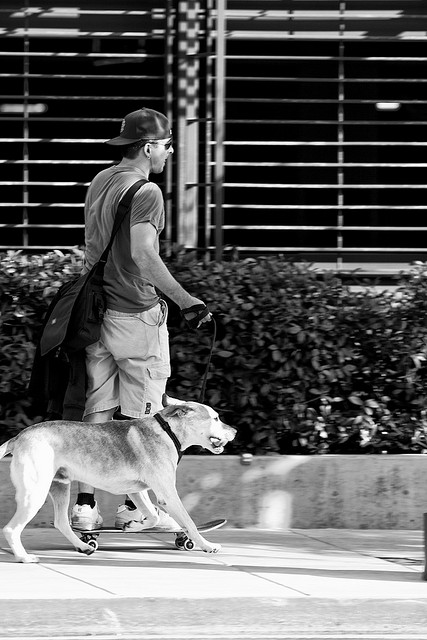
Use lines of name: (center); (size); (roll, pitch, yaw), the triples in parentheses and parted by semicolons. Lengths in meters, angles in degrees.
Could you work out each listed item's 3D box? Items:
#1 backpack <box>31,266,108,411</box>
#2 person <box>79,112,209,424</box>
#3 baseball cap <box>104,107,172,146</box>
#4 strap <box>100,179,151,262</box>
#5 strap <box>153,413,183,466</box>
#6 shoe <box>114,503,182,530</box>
backpack: (-0.718, 0.113, 4.428); (0.295, 0.933, 0.378); (10, 36, -15)
person: (-0.399, -0.268, 4.291); (0.740, 1.285, 0.421); (2, -1, 42)
baseball cap: (-0.390, -0.975, 4.420); (0.373, 0.180, 0.254); (-13, 14, -30)
strap: (-0.404, -0.499, 4.037); (0.056, 0.313, 0.316); (23, -26, -14)
strap: (-0.212, 0.548, 4.031); (0.050, 0.188, 0.146); (-41, 22, -14)
shoe: (-0.277, 0.972, 4.353); (0.402, 0.151, 0.130); (0, 1, 3)
